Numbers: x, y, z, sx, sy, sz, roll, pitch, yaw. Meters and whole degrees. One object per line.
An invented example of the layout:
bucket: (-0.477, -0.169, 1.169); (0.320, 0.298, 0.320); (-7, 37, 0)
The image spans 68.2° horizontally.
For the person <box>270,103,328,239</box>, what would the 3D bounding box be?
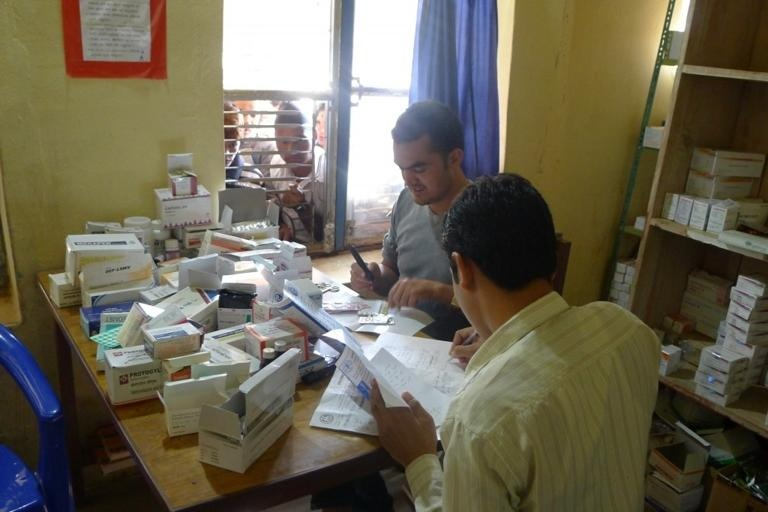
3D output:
person: (-0.492, -0.466, 3.300); (0.331, 0.826, 0.114); (-7, 18, -10)
